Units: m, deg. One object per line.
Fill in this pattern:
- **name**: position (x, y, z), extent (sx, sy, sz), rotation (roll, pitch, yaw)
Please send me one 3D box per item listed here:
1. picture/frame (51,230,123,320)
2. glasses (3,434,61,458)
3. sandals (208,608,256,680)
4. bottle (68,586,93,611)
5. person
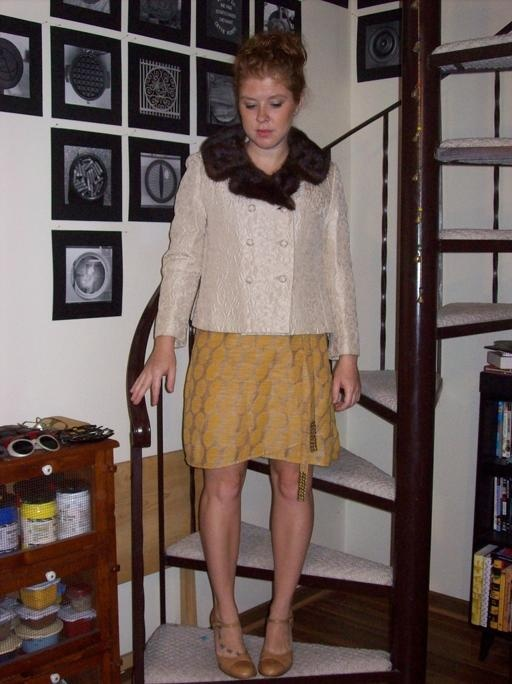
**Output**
- **picture/frame**: position (-0.490, -0.193, 1.709), extent (0.018, 0.251, 0.245), rotation (5, 9, 35)
- **glasses**: position (-0.511, 0.238, 1.375), extent (0.057, 0.035, 0.111), rotation (3, 5, 43)
- **sandals**: position (-0.065, 0.704, 1.397), extent (0.058, 0.074, 0.183), rotation (-3, 29, -19)
- **bottle**: position (-0.441, 0.641, 1.501), extent (0.038, 0.051, 0.070), rotation (-8, -8, 18)
- **person**: position (-0.017, 0.047, 1.418), extent (0.521, 1.463, 0.282), rotation (0, 3, 5)
